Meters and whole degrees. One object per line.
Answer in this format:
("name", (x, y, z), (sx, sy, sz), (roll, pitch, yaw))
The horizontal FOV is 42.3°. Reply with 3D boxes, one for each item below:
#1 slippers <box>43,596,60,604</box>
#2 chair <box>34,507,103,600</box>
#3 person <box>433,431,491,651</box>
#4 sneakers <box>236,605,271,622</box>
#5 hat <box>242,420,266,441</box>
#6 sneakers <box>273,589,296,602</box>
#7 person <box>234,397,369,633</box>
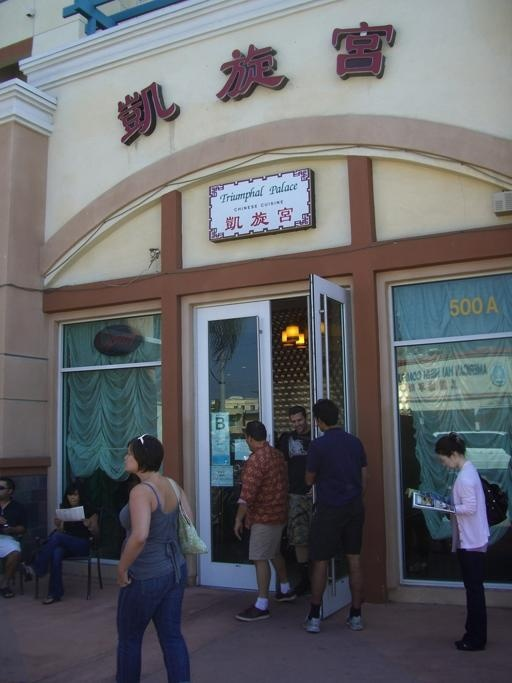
("slippers", (-1.899, 2.402, 6.145), (0.110, 0.063, 0.203), (-4, -8, 11))
("chair", (-1.893, 1.972, 6.510), (0.359, 1.098, 0.607), (-4, -18, 27))
("person", (1.352, 1.289, 4.273), (0.285, 1.374, 0.362), (-5, -8, 18))
("sneakers", (-0.023, 2.150, 5.249), (0.260, 0.112, 0.099), (2, -7, -16))
("hat", (0.002, 0.743, 5.569), (0.127, 0.164, 0.165), (0, 14, -2))
("sneakers", (0.243, 2.239, 5.845), (0.198, 0.093, 0.074), (-5, -5, 30))
("person", (0.581, 1.274, 4.917), (0.506, 1.682, 0.326), (-3, -8, 5))
